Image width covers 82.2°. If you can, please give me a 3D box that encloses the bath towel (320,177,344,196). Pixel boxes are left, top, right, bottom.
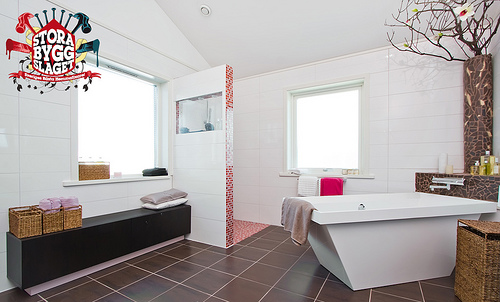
[{"bbox_3d":[1.561,0.747,5.558,0.543,0.436,0.252,1,4,14],"label":"bath towel"}]

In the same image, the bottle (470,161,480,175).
[{"bbox_3d":[3.478,0.265,4.447,0.127,0.190,0.280,-3,-1,37],"label":"bottle"}]

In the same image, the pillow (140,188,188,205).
[{"bbox_3d":[-1.584,0.819,5.212,0.531,0.189,0.650,5,2,33],"label":"pillow"}]

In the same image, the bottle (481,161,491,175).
[{"bbox_3d":[3.594,0.261,4.386,0.121,0.187,0.081,-3,0,28],"label":"bottle"}]

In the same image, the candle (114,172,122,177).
[{"bbox_3d":[-2.296,0.410,4.972,0.115,0.089,0.062,-2,0,-36],"label":"candle"}]

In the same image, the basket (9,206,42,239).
[{"bbox_3d":[-3.130,0.981,3.995,0.381,0.465,0.298,-3,0,43],"label":"basket"}]

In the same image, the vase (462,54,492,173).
[{"bbox_3d":[3.617,-0.578,4.582,0.370,1.704,0.187,-3,0,40],"label":"vase"}]

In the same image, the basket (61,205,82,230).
[{"bbox_3d":[-2.571,0.949,4.211,0.391,0.334,0.288,4,-8,-38],"label":"basket"}]

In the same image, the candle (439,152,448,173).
[{"bbox_3d":[3.196,0.197,4.761,0.236,0.311,0.085,-3,0,-43],"label":"candle"}]

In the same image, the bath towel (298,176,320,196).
[{"bbox_3d":[1.113,0.707,5.697,0.521,0.367,0.270,1,0,-12],"label":"bath towel"}]
